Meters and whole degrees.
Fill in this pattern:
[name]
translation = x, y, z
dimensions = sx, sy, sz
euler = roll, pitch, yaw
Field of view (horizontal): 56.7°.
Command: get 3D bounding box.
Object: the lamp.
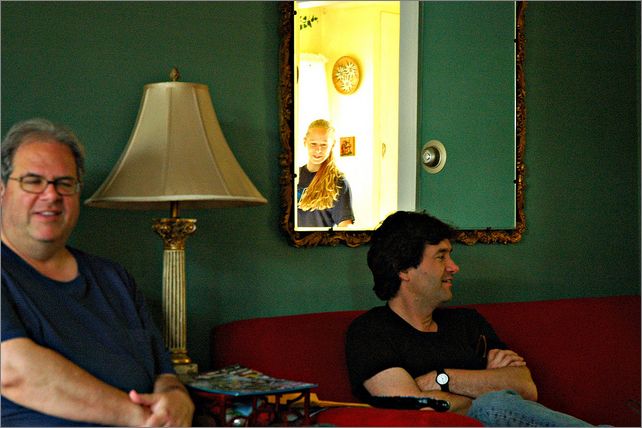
[lamp]
translation = -0.620, 0.030, 2.522
dimensions = 0.802, 1.250, 0.779
euler = 0, -1, 3

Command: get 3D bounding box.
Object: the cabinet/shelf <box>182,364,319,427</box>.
[cabinet/shelf]
translation = -0.285, 0.675, 2.201
dimensions = 0.517, 0.152, 0.294
euler = 1, 5, 33

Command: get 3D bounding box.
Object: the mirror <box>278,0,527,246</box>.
[mirror]
translation = 0.381, -0.478, 3.139
dimensions = 1.440, 1.683, 0.036
euler = -2, 5, -17

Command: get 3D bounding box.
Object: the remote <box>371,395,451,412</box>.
[remote]
translation = 0.344, 0.733, 2.293
dimensions = 0.264, 0.053, 0.061
euler = 0, 26, 4

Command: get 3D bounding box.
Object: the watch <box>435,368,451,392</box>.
[watch]
translation = 0.497, 0.681, 2.420
dimensions = 0.051, 0.086, 0.077
euler = -15, -19, -2
